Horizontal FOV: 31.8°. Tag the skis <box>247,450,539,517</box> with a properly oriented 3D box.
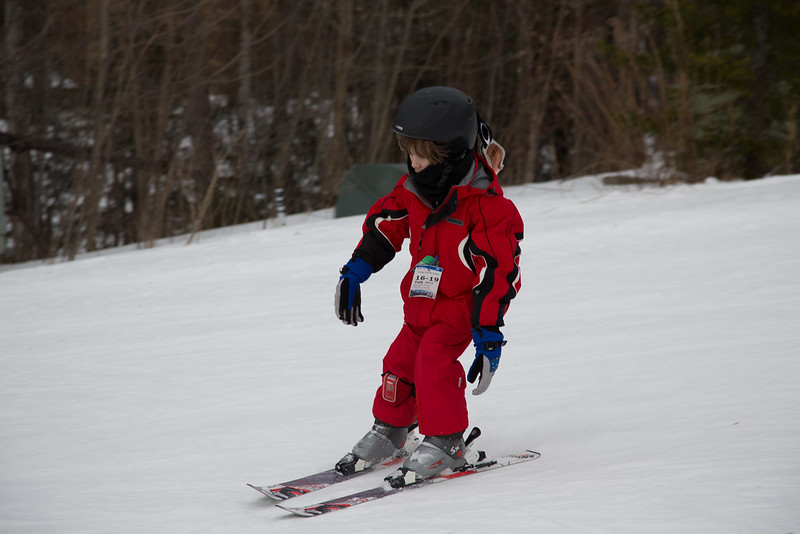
[{"bbox_3d":[-0.005,1.790,11.409,1.756,0.082,0.183,-11,28,-5],"label":"skis"}]

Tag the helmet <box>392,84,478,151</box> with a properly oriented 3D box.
[{"bbox_3d":[0.336,-1.262,11.499,0.663,0.425,0.466,-18,28,-32],"label":"helmet"}]

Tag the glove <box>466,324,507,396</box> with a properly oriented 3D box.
[{"bbox_3d":[0.699,0.755,11.311,0.327,0.541,0.274,-4,0,1],"label":"glove"}]
